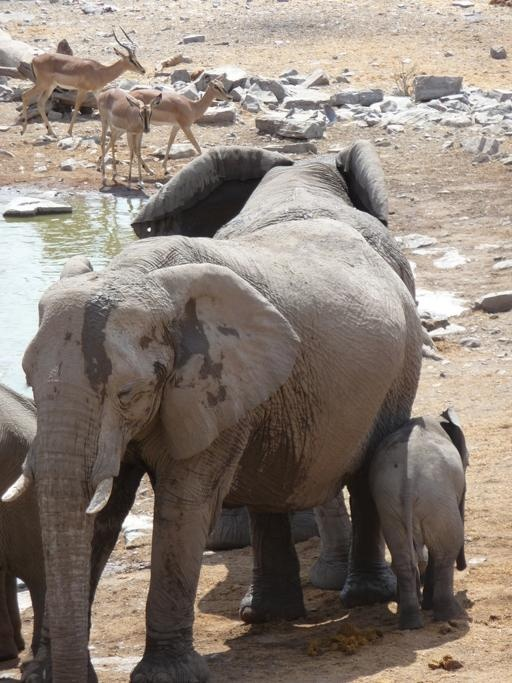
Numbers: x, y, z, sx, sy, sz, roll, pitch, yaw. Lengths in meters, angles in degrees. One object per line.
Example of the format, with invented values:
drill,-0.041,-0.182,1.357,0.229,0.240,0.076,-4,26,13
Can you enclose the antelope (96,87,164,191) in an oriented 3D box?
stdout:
antelope,-2.064,-2.966,15.343,1.464,1.612,1.261,0,28,1
